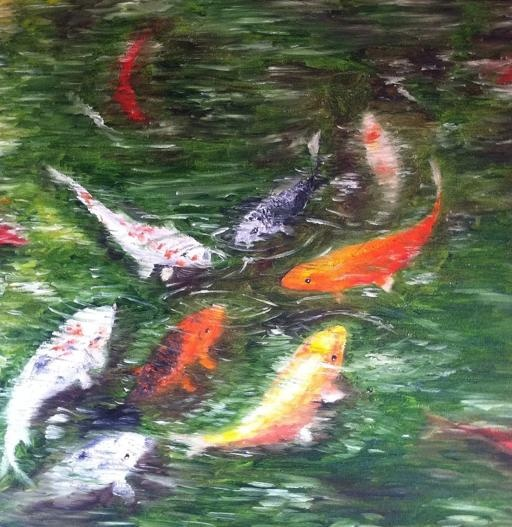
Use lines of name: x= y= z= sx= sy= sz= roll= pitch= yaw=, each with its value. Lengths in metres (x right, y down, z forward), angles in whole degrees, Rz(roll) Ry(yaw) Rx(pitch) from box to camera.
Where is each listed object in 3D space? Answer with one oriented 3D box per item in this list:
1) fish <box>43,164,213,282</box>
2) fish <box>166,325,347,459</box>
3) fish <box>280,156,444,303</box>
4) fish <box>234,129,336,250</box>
fish: x=-0.387 y=-0.092 z=1.897 sx=0.561 sy=0.116 sz=0.183 roll=21 pitch=69 yaw=4
fish: x=0.092 y=0.312 z=1.859 sx=0.460 sy=0.204 sz=0.163 roll=-39 pitch=-8 yaw=3
fish: x=0.287 y=-0.077 z=1.796 sx=0.405 sy=0.296 sz=0.169 roll=-22 pitch=37 yaw=-33
fish: x=0.055 y=-0.165 z=1.819 sx=0.387 sy=0.092 sz=0.131 roll=-32 pitch=5 yaw=-2
